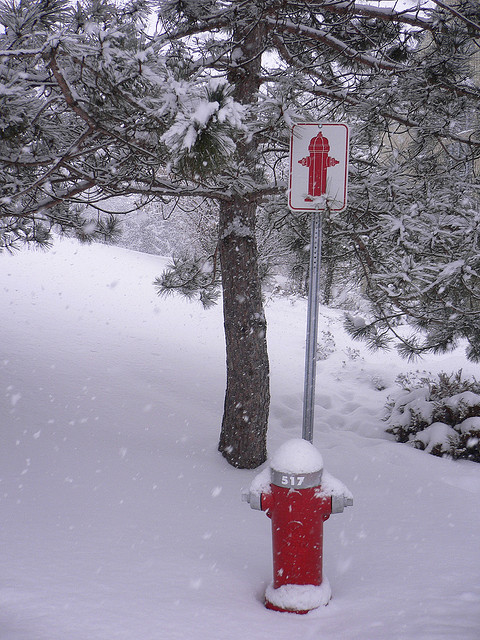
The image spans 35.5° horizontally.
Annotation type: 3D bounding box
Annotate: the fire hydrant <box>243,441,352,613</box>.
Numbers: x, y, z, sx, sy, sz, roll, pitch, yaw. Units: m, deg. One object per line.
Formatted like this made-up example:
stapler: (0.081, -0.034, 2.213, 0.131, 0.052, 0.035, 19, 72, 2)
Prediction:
fire hydrant: (0.316, 1.202, 4.319, 0.530, 1.006, 0.349, 11, 18, 32)

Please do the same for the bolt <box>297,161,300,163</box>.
bolt: (0.340, -0.916, 4.352, 0.014, 0.012, 0.003, 4, 5, 7)

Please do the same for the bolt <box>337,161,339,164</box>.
bolt: (0.561, -0.901, 4.303, 0.013, 0.003, 0.012, 19, 41, 18)

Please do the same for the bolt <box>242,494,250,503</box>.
bolt: (0.037, 1.034, 4.305, 0.062, 0.056, 0.043, 1, 3, 8)

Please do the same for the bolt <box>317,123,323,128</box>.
bolt: (0.460, -1.115, 4.320, 0.031, 0.027, 0.007, -1, -2, -5)
